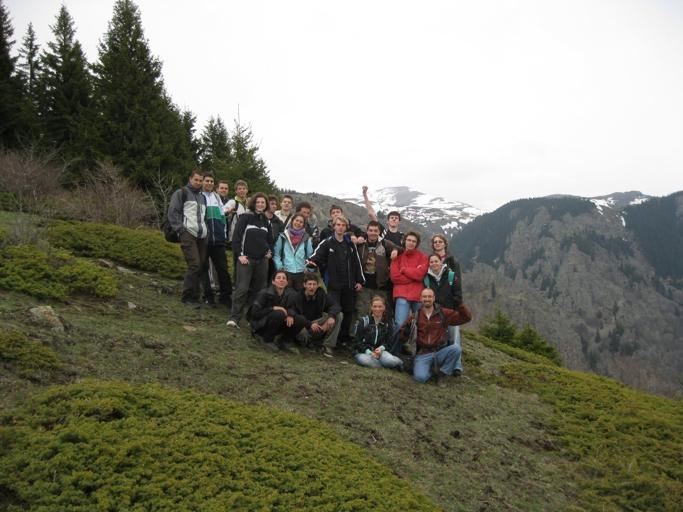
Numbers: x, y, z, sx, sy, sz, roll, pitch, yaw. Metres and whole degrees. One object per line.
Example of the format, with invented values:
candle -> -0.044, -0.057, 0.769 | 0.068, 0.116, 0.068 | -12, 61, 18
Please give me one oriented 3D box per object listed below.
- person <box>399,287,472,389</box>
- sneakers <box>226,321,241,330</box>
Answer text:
person -> 2.219, 2.091, 12.956 | 1.516, 1.509, 0.550 | 4, 2, -6
sneakers -> -2.600, 1.681, 12.899 | 0.151, 0.165, 0.356 | 23, -17, -4
